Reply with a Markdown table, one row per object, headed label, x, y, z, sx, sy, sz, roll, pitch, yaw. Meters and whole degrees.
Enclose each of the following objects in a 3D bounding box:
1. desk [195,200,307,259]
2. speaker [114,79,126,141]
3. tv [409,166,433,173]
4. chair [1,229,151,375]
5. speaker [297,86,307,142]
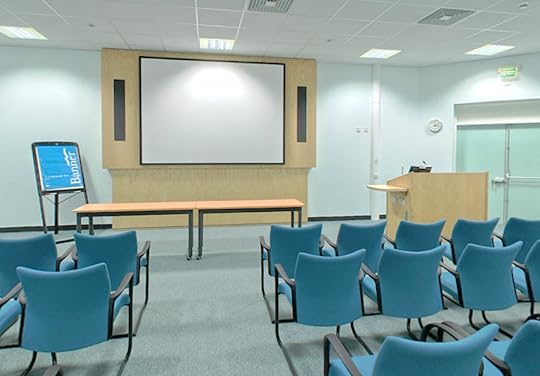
| label | x | y | z | sx | sy | sz | roll | pitch | yaw |
| --- | --- | --- | --- | --- | --- | --- | --- | --- | --- |
| desk | -0.360 | 0.742 | 6.883 | 1.872 | 0.947 | 0.820 | 0 | 6 | -10 |
| speaker | -3.157 | -1.636 | 8.136 | 0.310 | 1.271 | 0.084 | -5 | 8 | -17 |
| tv | 2.950 | -0.374 | 7.602 | 0.340 | 0.090 | 1.607 | 0 | 8 | 21 |
| chair | -1.957 | 1.178 | 4.552 | 1.084 | 1.404 | 1.591 | 1 | 6 | -6 |
| speaker | 0.714 | -1.663 | 8.777 | 0.247 | 1.221 | 0.093 | -3 | 8 | -3 |
